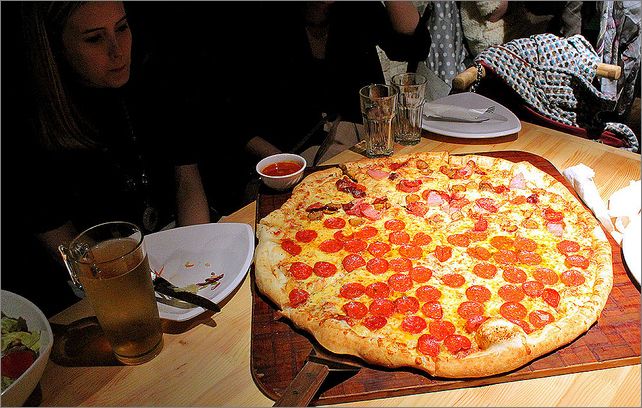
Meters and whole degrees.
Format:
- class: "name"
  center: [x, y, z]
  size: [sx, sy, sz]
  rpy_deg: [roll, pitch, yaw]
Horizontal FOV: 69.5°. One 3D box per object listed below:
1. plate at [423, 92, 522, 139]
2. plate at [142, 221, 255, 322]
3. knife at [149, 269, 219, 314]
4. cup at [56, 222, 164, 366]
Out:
- class: "plate"
  center: [0.936, -0.507, 2.805]
  size: [0.417, 0.061, 0.439]
  rpy_deg: [8, 36, 15]
- class: "plate"
  center: [-0.498, 0.332, 1.987]
  size: [0.418, 0.072, 0.364]
  rpy_deg: [3, 22, 39]
- class: "knife"
  center: [-0.640, 0.363, 2.004]
  size: [0.468, 0.112, 0.068]
  rpy_deg: [14, 3, 29]
- class: "cup"
  center: [-0.777, 0.355, 1.835]
  size: [0.280, 0.532, 0.277]
  rpy_deg: [-4, 34, 3]
